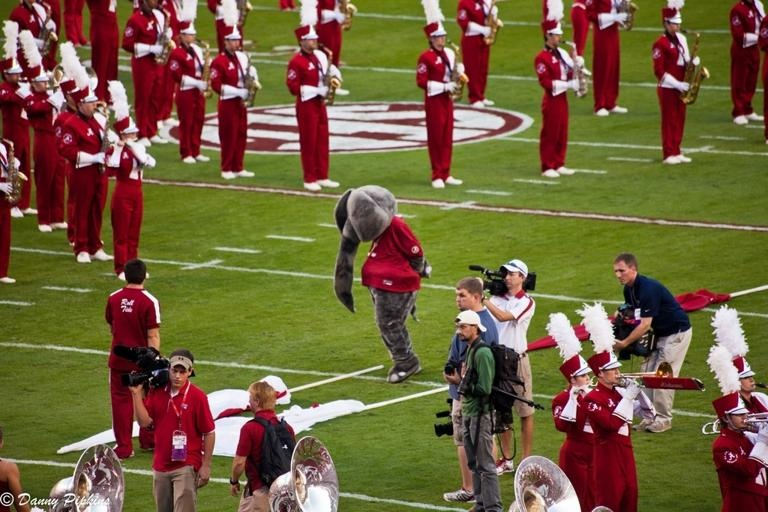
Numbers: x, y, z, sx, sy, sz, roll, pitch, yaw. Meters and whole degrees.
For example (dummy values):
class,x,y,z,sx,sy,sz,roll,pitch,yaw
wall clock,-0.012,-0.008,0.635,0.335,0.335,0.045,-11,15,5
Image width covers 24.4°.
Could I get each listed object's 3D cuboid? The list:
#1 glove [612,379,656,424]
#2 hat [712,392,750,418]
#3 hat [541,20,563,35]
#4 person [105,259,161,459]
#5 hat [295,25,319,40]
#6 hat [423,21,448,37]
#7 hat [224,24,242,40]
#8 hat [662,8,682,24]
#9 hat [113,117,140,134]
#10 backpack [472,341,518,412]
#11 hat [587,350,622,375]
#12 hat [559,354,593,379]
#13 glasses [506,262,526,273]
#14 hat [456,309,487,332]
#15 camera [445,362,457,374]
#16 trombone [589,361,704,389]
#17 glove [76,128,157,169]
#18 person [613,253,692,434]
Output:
class,x,y,z,sx,sy,sz,roll,pitch,yaw
glove,3.235,1.906,23.172,0.520,0.679,0.616,2,-3,-17
hat,4.364,1.907,22.588,0.422,0.242,0.287,0,2,17
hat,3.060,-4.192,32.614,0.372,0.269,0.271,3,10,9
person,-3.499,1.473,24.470,1.036,2.483,0.962,7,-8,-19
hat,-1.410,-4.097,32.489,0.378,0.219,0.275,3,10,11
hat,0.867,-4.144,32.374,0.473,0.268,0.352,5,12,27
hat,-2.820,-4.205,33.459,0.331,0.200,0.236,12,21,42
hat,5.287,-4.506,33.311,0.422,0.293,0.332,6,12,28
hat,-4.111,-2.099,28.552,0.357,0.201,0.256,-7,6,-3
backpack,1.445,1.587,23.242,0.637,0.914,0.339,-1,7,3
hat,2.839,1.375,23.112,0.380,0.220,0.273,-2,2,25
hat,2.445,1.457,23.229,0.382,0.226,0.285,-7,8,46
glasses,1.816,0.185,24.591,0.229,0.102,0.160,15,-1,-15
hat,1.141,0.860,23.273,0.369,0.193,0.226,6,11,-10
camera,0.869,1.483,23.534,0.126,0.130,0.305,-1,7,5
trombone,3.533,1.541,23.231,1.375,0.272,0.338,-1,20,-4
glove,-4.180,-1.756,28.726,0.690,0.388,0.986,6,11,39
person,3.723,1.237,24.885,1.172,2.417,0.895,3,-5,-36
